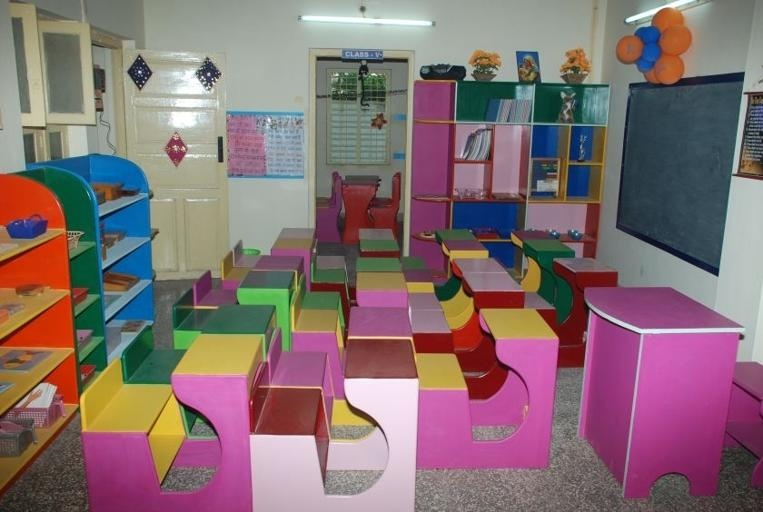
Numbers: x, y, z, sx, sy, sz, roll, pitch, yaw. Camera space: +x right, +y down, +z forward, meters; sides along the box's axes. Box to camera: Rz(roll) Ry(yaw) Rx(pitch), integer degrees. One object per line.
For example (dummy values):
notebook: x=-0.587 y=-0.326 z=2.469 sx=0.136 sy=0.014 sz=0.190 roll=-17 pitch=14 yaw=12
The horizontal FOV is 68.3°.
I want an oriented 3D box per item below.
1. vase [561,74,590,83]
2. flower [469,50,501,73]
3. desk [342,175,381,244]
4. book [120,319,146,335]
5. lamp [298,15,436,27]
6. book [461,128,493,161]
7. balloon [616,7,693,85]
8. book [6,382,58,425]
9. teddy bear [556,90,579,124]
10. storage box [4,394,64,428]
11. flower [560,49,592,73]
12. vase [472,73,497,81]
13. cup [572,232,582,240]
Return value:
vase: x=2.675 y=-2.484 z=7.872 sx=0.268 sy=0.140 sz=0.288 roll=-2 pitch=18 yaw=-3
flower: x=1.403 y=-2.684 z=7.708 sx=0.370 sy=0.223 sz=0.408 roll=-5 pitch=32 yaw=-12
desk: x=-0.352 y=-0.790 z=9.675 sx=0.527 sy=0.792 sz=1.311 roll=-2 pitch=12 yaw=-1
book: x=-2.667 y=0.766 z=6.067 sx=0.243 sy=0.069 sz=0.251 roll=3 pitch=12 yaw=1
lamp: x=-0.206 y=-3.286 z=7.879 sx=1.920 sy=0.163 sz=0.267 roll=-1 pitch=18 yaw=-2
book: x=1.327 y=-1.553 z=7.889 sx=0.407 sy=0.419 sz=0.249 roll=-2 pitch=18 yaw=-3
balloon: x=3.128 y=-2.398 z=6.508 sx=0.784 sy=0.783 sz=0.342 roll=-30 pitch=9 yaw=17
book: x=-2.860 y=1.253 z=4.675 sx=0.393 sy=0.132 sz=0.259 roll=0 pitch=7 yaw=2
teddy bear: x=2.560 y=-2.052 z=7.747 sx=0.232 sy=0.436 sz=0.344 roll=6 pitch=19 yaw=19
storage box: x=-2.858 y=1.306 z=4.674 sx=0.323 sy=0.115 sz=0.193 roll=1 pitch=3 yaw=-23
flower: x=2.647 y=-2.639 z=7.841 sx=0.417 sy=0.409 sz=0.412 roll=-3 pitch=13 yaw=-5
vase: x=1.407 y=-2.491 z=7.763 sx=0.290 sy=0.139 sz=0.166 roll=1 pitch=18 yaw=5
cup: x=2.790 y=-0.281 z=8.084 sx=0.109 sy=0.079 sz=0.123 roll=0 pitch=-3 yaw=2
